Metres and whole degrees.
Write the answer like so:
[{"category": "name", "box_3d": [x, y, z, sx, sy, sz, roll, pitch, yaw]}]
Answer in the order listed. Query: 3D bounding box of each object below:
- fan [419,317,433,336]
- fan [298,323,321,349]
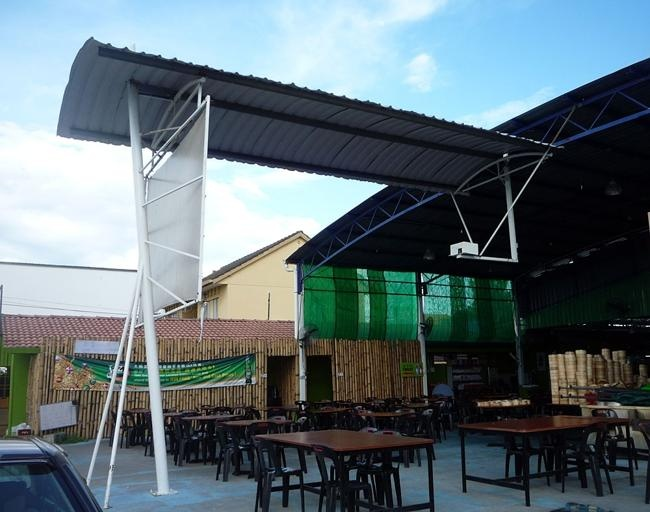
[{"category": "fan", "box_3d": [3.348, 2.335, 20.086, 0.480, 0.544, 0.605, -1, -12, 18]}, {"category": "fan", "box_3d": [-0.596, 2.451, 18.515, 0.694, 0.616, 0.633, -3, -8, 19]}]
